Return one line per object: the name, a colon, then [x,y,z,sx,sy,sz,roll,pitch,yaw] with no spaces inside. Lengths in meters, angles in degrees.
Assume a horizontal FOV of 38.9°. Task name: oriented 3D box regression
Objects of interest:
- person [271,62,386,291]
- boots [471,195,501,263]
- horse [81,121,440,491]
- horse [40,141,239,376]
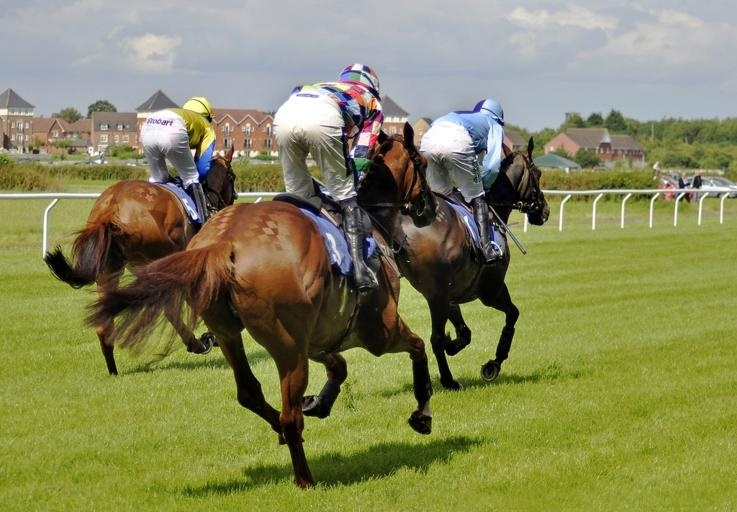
person: [-0.343,-0.721,8.845,0.947,2.049,1.439,-5,-8,28]
boots: [1.075,-0.299,10.226,0.314,0.210,0.859,10,34,5]
horse: [-0.723,0.580,8.665,1.237,2.817,4.438,4,10,33]
horse: [-2.213,-0.094,11.122,0.965,2.574,4.052,-7,-1,16]
